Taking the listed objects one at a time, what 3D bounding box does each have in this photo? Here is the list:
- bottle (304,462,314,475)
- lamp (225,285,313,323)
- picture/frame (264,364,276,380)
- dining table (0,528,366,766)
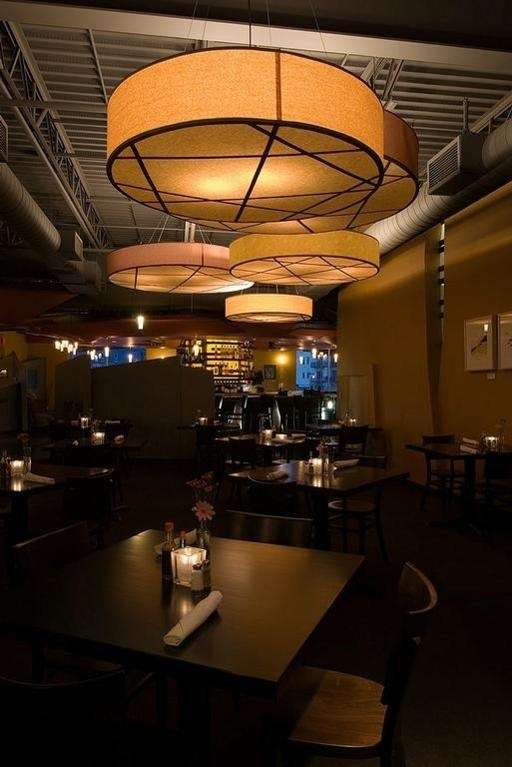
[{"bbox_3d":[0.396,0.630,4.286,0.077,0.080,0.045,0,0,0],"label":"bottle"},{"bbox_3d":[0.175,-1.024,7.261,0.991,0.324,1.718,0,1,3],"label":"lamp"},{"bbox_3d":[0.551,-0.472,23.192,0.525,0.599,0.044,3,2,-10],"label":"picture/frame"},{"bbox_3d":[-0.227,0.503,1.804,0.682,0.721,0.718,1,3,23],"label":"dining table"}]
